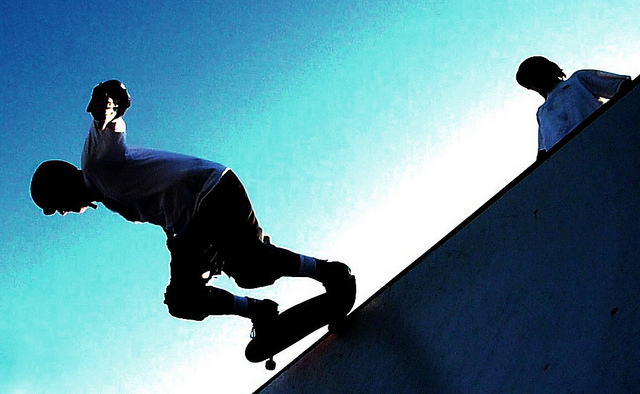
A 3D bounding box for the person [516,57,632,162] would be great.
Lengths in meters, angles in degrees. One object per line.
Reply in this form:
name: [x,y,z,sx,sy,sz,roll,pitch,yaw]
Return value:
person: [3.180,-0.976,9.219,0.553,1.541,1.243,1,-56,-14]
